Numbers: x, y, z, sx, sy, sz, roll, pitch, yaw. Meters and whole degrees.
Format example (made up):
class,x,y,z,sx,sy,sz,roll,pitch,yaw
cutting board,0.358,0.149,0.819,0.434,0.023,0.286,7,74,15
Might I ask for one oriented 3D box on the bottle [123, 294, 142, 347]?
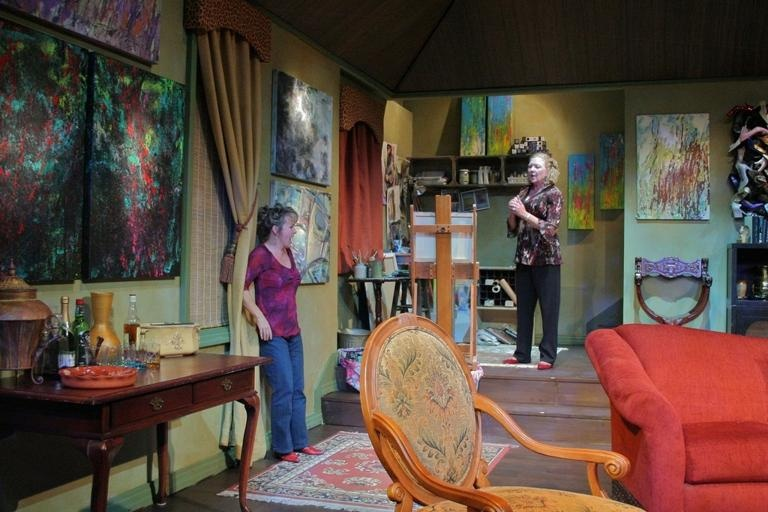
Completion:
class,x,y,z,sx,sy,sz,roll,pitch,yaw
bottle,-1.576,0.392,3.732,0.088,0.258,0.410,-1,0,-23

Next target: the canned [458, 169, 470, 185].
class,x,y,z,sx,sy,sz,roll,pitch,yaw
canned,1.150,-1.138,8.564,0.177,0.209,0.187,-1,-5,23

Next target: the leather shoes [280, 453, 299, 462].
class,x,y,z,sx,sy,sz,roll,pitch,yaw
leather shoes,-0.764,1.621,4.844,0.060,0.076,0.177,7,-15,-42

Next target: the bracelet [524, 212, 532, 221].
class,x,y,z,sx,sy,sz,roll,pitch,yaw
bracelet,1.379,-0.383,5.700,0.017,0.063,0.060,-7,24,-8

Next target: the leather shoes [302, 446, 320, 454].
class,x,y,z,sx,sy,sz,roll,pitch,yaw
leather shoes,-0.607,1.606,4.981,0.118,0.048,0.065,-3,-3,7
